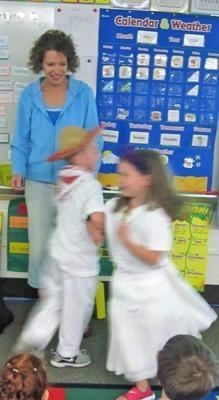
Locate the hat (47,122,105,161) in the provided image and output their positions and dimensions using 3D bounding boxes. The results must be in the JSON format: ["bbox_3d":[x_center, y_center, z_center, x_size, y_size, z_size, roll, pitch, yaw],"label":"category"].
[{"bbox_3d":[-0.154,-0.256,1.445,0.216,0.168,0.109,10,2,-12],"label":"hat"}]

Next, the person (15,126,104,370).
[{"bbox_3d":[-0.183,0.243,1.549,0.546,1.169,0.446,-3,12,-26],"label":"person"}]

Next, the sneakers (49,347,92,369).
[{"bbox_3d":[-0.217,0.854,1.745,0.227,0.109,0.099,0,0,-20],"label":"sneakers"}]
